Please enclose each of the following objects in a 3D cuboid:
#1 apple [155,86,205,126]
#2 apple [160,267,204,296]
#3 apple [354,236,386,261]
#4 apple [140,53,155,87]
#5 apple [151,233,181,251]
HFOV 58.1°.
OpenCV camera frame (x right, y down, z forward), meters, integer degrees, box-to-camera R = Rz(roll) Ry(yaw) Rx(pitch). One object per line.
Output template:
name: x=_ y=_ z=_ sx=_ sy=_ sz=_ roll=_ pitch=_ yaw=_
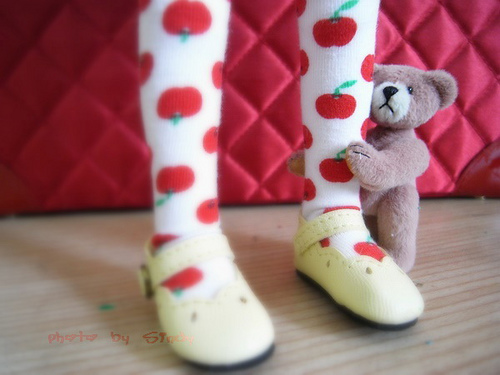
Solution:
apple: x=-0.148 y=-0.164 z=0.914 sx=0.097 sy=0.082 sz=0.026 roll=3 pitch=-8 yaw=17
apple: x=-0.132 y=0.186 z=0.887 sx=0.083 sy=0.043 sz=0.032 roll=-2 pitch=23 yaw=-8
apple: x=0.261 y=0.138 z=0.975 sx=0.061 sy=0.024 sz=0.054 roll=-17 pitch=30 yaw=-35
apple: x=-0.212 y=-0.242 z=0.921 sx=0.018 sy=0.060 sz=0.049 roll=-19 pitch=30 yaw=-40
apple: x=-0.173 y=0.108 z=0.932 sx=0.048 sy=0.022 sz=0.030 roll=-22 pitch=15 yaw=3
